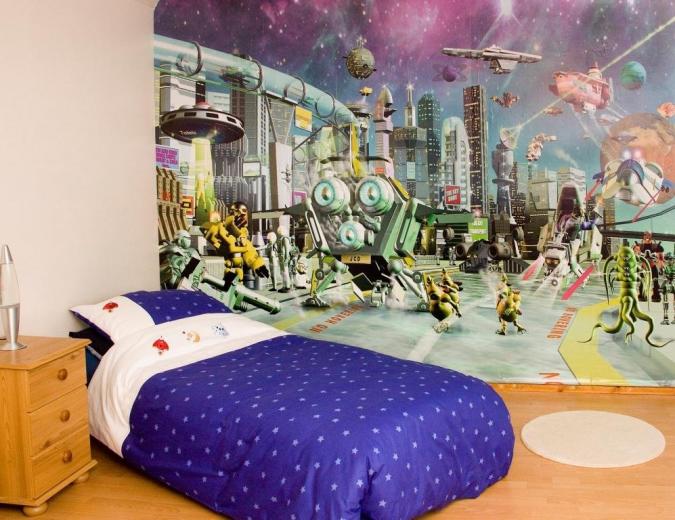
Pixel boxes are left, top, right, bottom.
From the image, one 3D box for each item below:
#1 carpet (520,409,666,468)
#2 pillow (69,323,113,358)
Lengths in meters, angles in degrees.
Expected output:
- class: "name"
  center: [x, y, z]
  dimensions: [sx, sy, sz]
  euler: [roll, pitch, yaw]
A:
- class: "carpet"
  center: [1.641, 1.115, 2.961]
  dimensions: [0.944, 0.034, 0.773]
  euler: [0, 6, 3]
- class: "pillow"
  center: [-1.588, 0.526, 2.999]
  dimensions: [0.296, 0.065, 0.227]
  euler: [28, 14, 24]
